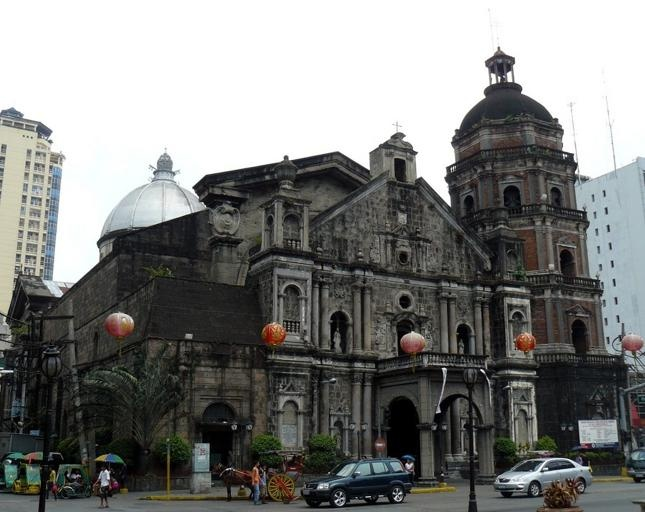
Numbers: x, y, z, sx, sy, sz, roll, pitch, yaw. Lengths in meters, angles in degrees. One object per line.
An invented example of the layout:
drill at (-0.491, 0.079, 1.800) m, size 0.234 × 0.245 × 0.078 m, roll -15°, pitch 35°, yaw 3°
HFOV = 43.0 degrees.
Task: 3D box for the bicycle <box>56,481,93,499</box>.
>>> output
bicycle at (-14.140, 13.411, 46.856) m, size 1.673 × 1.008 × 0.789 m, roll 4°, pitch -13°, yaw -36°

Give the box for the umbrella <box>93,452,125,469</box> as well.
umbrella at (-12.274, 11.556, 46.667) m, size 1.512 × 0.602 × 1.549 m, roll -6°, pitch -27°, yaw 31°
